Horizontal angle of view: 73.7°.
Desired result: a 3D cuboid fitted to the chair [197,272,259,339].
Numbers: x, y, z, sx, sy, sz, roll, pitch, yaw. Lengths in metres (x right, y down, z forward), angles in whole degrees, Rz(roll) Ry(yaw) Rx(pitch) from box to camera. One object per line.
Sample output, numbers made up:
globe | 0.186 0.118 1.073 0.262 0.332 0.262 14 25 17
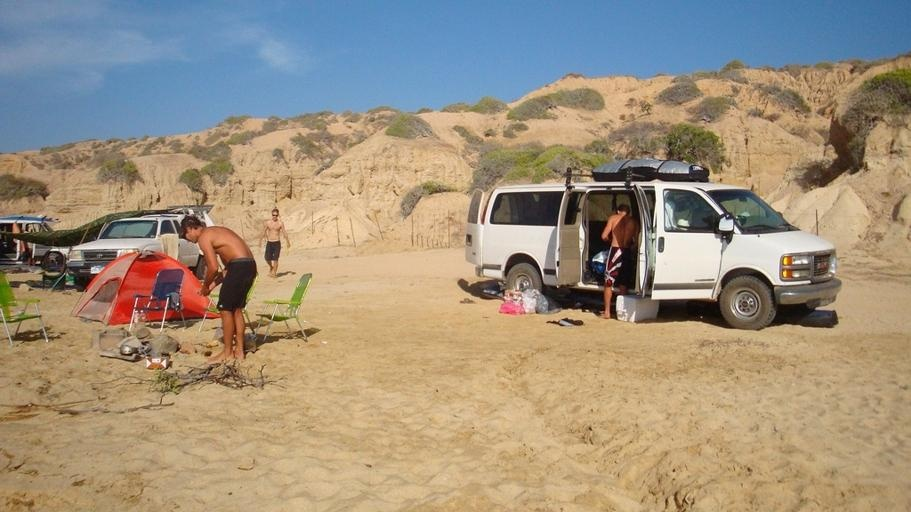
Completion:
chair | -4.970 1.047 13.364 1.180 1.274 1.057 1 3 -31

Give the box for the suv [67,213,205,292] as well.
suv | -9.497 -0.287 18.636 2.432 1.875 4.457 0 4 5

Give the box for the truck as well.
truck | -9.151 -0.580 18.404 2.380 1.752 3.949 -1 0 23

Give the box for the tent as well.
tent | -7.190 0.733 13.677 2.415 1.022 2.140 -1 5 -28

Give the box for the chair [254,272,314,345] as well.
chair | -3.912 1.138 13.709 1.695 1.957 1.503 1 -1 -27
